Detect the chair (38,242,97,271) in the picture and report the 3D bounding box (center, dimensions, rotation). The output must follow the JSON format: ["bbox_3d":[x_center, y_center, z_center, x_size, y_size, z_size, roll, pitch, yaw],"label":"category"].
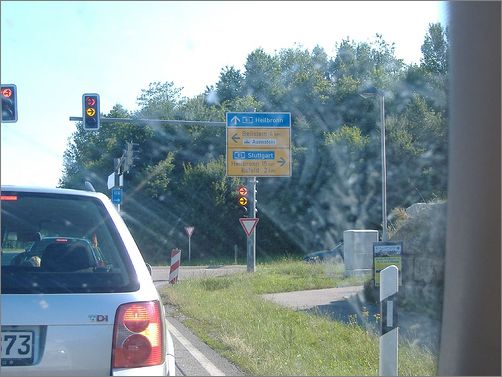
[{"bbox_3d":[-1.710,0.620,6.114,0.215,0.209,0.384,1,5,-3],"label":"chair"}]

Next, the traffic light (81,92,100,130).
[{"bbox_3d":[-4.460,-2.182,18.260,0.454,0.963,0.457,2,-9,-21],"label":"traffic light"}]

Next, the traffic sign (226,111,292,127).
[{"bbox_3d":[0.268,-2.422,22.823,2.195,0.604,0.334,-1,-8,-3],"label":"traffic sign"}]
